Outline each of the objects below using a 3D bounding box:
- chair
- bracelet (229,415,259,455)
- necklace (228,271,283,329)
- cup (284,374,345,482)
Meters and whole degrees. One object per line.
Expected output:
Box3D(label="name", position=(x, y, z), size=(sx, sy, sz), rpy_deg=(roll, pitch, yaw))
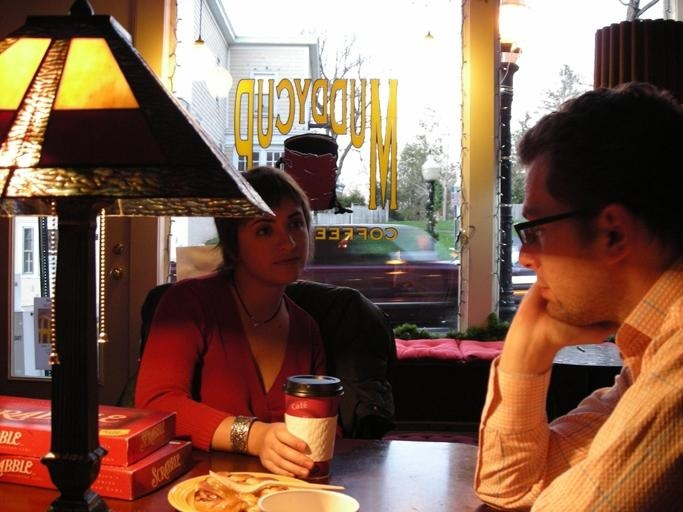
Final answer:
Box3D(label="chair", position=(-0.139, 0.331, 2.415), size=(0.612, 0.569, 0.654), rpy_deg=(-1, -10, 8))
Box3D(label="bracelet", position=(-0.258, 0.453, 1.774), size=(0.052, 0.097, 0.096), rpy_deg=(-3, -8, 24))
Box3D(label="necklace", position=(-0.277, 0.148, 2.265), size=(0.123, 0.171, 0.035), rpy_deg=(7, -11, -20))
Box3D(label="cup", position=(-0.072, 0.404, 1.638), size=(0.132, 0.228, 0.076), rpy_deg=(4, 10, 2))
